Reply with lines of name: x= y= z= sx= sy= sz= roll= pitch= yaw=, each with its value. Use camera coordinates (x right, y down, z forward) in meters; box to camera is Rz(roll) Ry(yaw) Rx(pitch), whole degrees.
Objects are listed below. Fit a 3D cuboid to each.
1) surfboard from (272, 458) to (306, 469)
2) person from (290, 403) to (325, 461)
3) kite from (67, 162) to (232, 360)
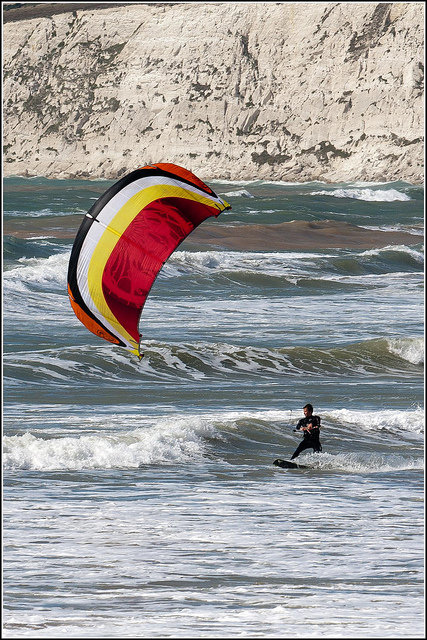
surfboard: x=0.901 y=1.777 z=14.525 sx=0.069 sy=0.113 sz=0.401 roll=6 pitch=-3 yaw=-30
person: x=1.162 y=1.437 z=14.306 sx=0.489 sy=0.761 sz=0.415 roll=11 pitch=-21 yaw=-6
kite: x=-0.761 y=-0.640 z=11.366 sx=0.656 sy=1.678 sz=1.389 roll=5 pitch=6 yaw=32
